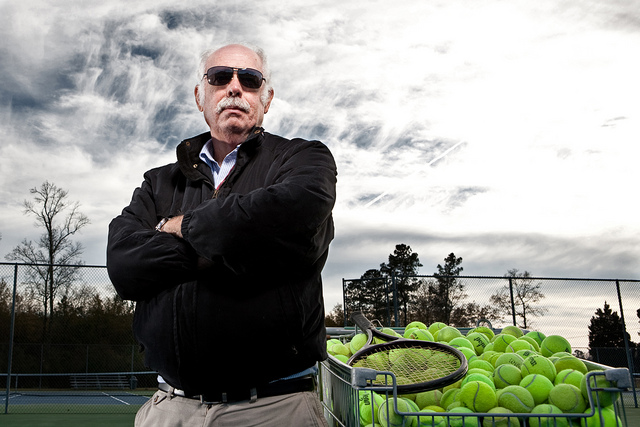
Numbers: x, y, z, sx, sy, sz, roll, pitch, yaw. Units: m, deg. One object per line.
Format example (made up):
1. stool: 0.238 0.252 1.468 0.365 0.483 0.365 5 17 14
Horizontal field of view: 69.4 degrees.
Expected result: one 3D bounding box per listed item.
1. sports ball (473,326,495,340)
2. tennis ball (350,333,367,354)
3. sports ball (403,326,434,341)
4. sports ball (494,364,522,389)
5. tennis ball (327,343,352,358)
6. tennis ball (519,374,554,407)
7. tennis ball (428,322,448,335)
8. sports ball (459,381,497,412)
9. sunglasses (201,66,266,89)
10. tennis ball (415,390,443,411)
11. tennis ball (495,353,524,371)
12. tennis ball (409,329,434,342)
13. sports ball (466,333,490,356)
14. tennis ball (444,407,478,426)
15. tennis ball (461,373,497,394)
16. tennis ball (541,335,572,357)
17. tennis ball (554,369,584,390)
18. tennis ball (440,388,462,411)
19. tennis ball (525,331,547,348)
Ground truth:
1. sports ball: 1.121 0.792 3.133 0.082 0.084 0.095 -7 12 -23
2. tennis ball: 0.245 0.836 3.011 0.113 0.137 0.115 11 -26 5
3. sports ball: 0.637 0.756 2.938 0.117 0.105 0.100 -3 18 22
4. sports ball: 0.936 0.810 2.291 0.108 0.110 0.108 1 -6 0
5. tennis ball: 0.122 0.888 2.993 0.092 0.078 0.121 -15 -22 32
6. tennis ball: 1.021 0.813 2.153 0.124 0.127 0.126 13 2 -1
7. tennis ball: 0.800 0.772 3.121 0.078 0.079 0.079 -7 -28 -4
8. sports ball: 0.716 0.827 2.088 0.127 0.129 0.128 -1 -24 0
9. sunglasses: -0.412 -0.675 2.305 0.291 0.120 0.048 1 -9 -5
10. tennis ball: 0.532 0.899 2.240 0.092 0.113 0.097 -5 0 0
11. tennis ball: 0.983 0.758 2.382 0.087 0.090 0.090 18 -35 13
12. tennis ball: 0.650 0.745 2.908 0.101 0.090 0.084 -6 -5 32
13. sports ball: 1.013 0.831 2.977 0.134 0.117 0.119 -28 -36 18
14. tennis ball: 0.618 0.888 2.015 0.139 0.058 0.129 0 -9 0
15. tennis ball: 0.766 0.791 2.214 0.107 0.112 0.110 -4 -2 0
16. tennis ball: 1.398 0.796 2.753 0.135 0.133 0.131 11 -51 14
17. tennis ball: 1.184 0.772 2.193 0.090 0.093 0.093 -7 1 0
18. tennis ball: 0.625 0.874 2.193 0.082 0.088 0.109 0 4 8
19. tennis ball: 1.354 0.781 2.894 0.085 0.088 0.082 2 4 0
